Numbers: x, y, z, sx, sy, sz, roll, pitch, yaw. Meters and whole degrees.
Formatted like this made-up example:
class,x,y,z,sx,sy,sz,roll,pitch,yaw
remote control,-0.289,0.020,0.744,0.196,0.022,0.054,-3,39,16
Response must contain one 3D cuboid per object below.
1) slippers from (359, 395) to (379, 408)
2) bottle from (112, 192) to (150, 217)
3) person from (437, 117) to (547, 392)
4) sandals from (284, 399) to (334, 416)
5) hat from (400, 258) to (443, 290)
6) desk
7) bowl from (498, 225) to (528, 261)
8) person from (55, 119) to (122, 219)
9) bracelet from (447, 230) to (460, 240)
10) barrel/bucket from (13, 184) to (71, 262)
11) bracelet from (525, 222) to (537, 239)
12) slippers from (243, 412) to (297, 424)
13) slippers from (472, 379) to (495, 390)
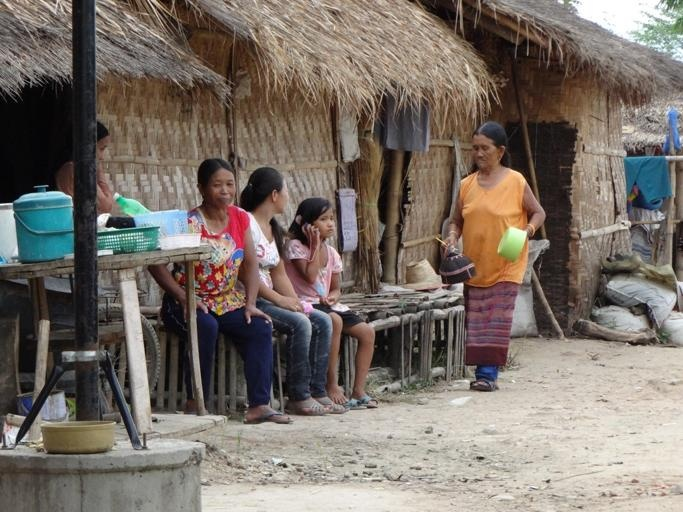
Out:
class,x,y,z,sx,sy,sz,roll,pitch,yaw
slippers,0.225,1.218,9.014,0.070,0.055,0.175,-3,2,-42
bottle,-1.513,-0.362,7.689,0.239,0.147,0.181,8,10,37
person,1.372,0.002,9.812,0.869,2.412,0.627,3,7,13
sandals,-0.283,1.208,8.595,0.269,0.126,0.148,-1,0,5
hat,0.914,0.205,12.035,0.362,0.162,0.270,-16,0,30
desk,-1.565,0.553,6.980,1.184,1.027,1.078,-3,-2,34
bowl,1.496,-0.100,9.466,0.196,0.262,0.285,24,49,11
person,-2.008,-0.639,8.343,0.481,0.831,0.426,-5,-10,42
bracelet,1.035,-0.194,9.959,0.082,0.057,0.103,4,-4,-12
barrel/bucket,-1.847,-0.203,6.677,0.384,0.497,0.407,-1,3,0
bracelet,1.782,-0.250,10.117,0.069,0.201,0.137,12,-12,-5
slippers,-0.560,1.235,8.216,0.301,0.087,0.139,-2,7,3
slippers,1.299,1.176,9.784,0.183,0.082,0.090,15,-15,-36
